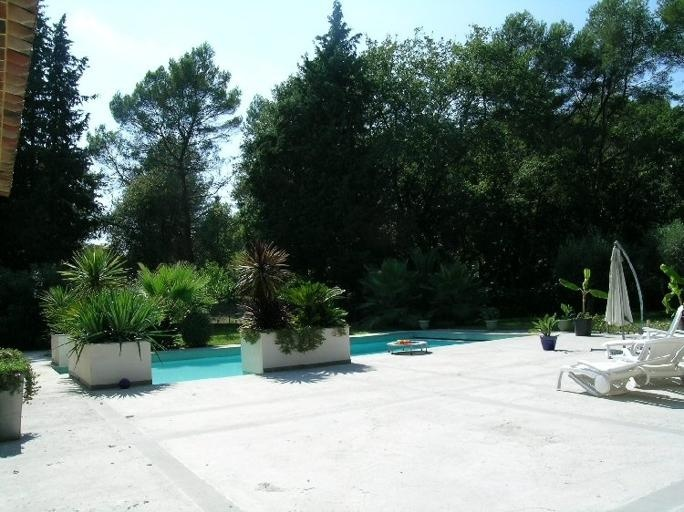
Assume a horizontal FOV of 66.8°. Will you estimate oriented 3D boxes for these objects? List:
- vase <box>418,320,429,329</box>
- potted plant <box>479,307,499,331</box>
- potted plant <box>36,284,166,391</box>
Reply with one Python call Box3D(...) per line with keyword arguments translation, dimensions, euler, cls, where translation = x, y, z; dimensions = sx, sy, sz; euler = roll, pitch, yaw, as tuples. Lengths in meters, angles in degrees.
Box3D(translation=(3.560, 2.981, 22.520), dimensions=(0.352, 0.293, 0.343), euler=(5, -9, -45), cls="vase")
Box3D(translation=(6.366, 2.684, 22.219), dimensions=(0.797, 0.983, 0.838), euler=(1, -4, -31), cls="potted plant")
Box3D(translation=(-5.341, 1.732, 11.592), dimensions=(1.518, 2.000, 3.473), euler=(3, -6, -35), cls="potted plant")
